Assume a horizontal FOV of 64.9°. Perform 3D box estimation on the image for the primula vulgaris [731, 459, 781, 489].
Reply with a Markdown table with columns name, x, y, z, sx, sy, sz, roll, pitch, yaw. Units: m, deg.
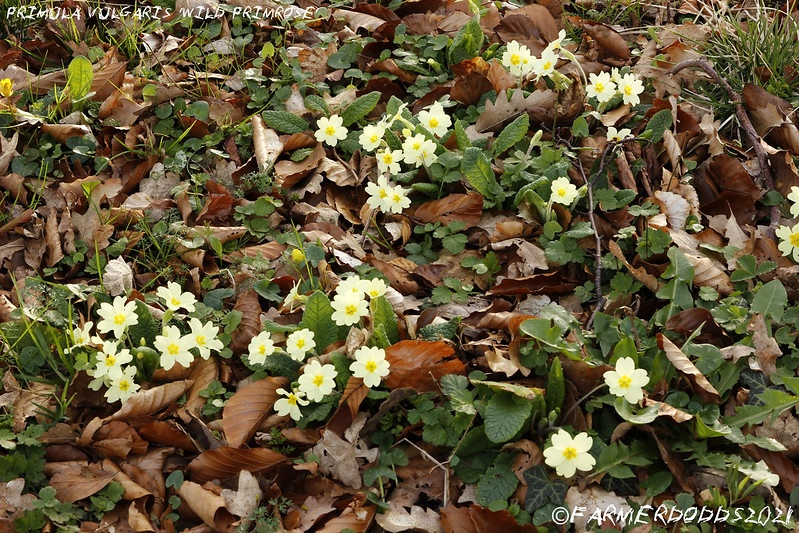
| name | x | y | z | sx | sy | sz | roll | pitch | yaw |
| --- | --- | --- | --- | --- | --- | --- | --- | --- | --- |
| primula vulgaris | 1.596 | 0.913 | 2.812 | 0.127 | 0.050 | 0.163 | -17 | 28 | -34 |

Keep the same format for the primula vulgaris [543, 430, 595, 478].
| name | x | y | z | sx | sy | sz | roll | pitch | yaw |
| --- | --- | --- | --- | --- | --- | --- | --- | --- | --- |
| primula vulgaris | 0.743 | 0.816 | 2.756 | 0.211 | 0.142 | 0.162 | 1 | 57 | 11 |

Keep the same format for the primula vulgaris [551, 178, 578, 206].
| name | x | y | z | sx | sy | sz | roll | pitch | yaw |
| --- | --- | --- | --- | --- | --- | --- | --- | --- | --- |
| primula vulgaris | 0.875 | -0.400 | 3.369 | 0.146 | 0.150 | 0.073 | 7 | 22 | 7 |
